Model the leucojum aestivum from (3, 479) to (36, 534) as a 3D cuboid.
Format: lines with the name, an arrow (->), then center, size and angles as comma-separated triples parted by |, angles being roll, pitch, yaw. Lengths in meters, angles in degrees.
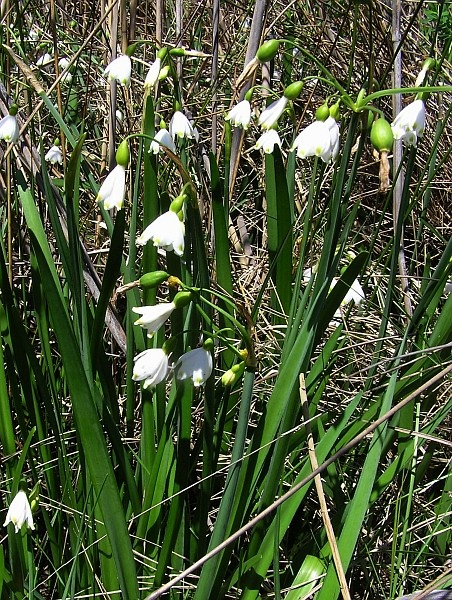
leucojum aestivum -> -0.367, 0.405, 1.502 | 0.052, 0.108, 0.089 | -1, 29, -16

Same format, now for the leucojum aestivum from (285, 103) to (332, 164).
leucojum aestivum -> 0.141, -0.273, 1.354 | 0.059, 0.096, 0.072 | 8, 27, 0

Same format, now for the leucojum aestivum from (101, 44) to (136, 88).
leucojum aestivum -> -0.202, -0.450, 1.597 | 0.051, 0.081, 0.088 | 12, 29, 8

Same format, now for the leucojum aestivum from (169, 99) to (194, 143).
leucojum aestivum -> -0.094, -0.376, 1.724 | 0.039, 0.094, 0.038 | -17, -9, 43

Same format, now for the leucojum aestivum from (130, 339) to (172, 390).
leucojum aestivum -> -0.126, 0.116, 1.404 | 0.068, 0.105, 0.056 | -6, 29, -27

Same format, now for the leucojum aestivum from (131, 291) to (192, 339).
leucojum aestivum -> -0.100, 0.021, 1.379 | 0.092, 0.068, 0.061 | -31, 71, 1

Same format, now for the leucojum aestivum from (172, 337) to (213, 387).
leucojum aestivum -> -0.051, 0.104, 1.375 | 0.058, 0.065, 0.064 | 5, 29, -9

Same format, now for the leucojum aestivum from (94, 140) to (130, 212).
leucojum aestivum -> -0.185, -0.220, 1.443 | 0.031, 0.126, 0.043 | 11, -3, 36
